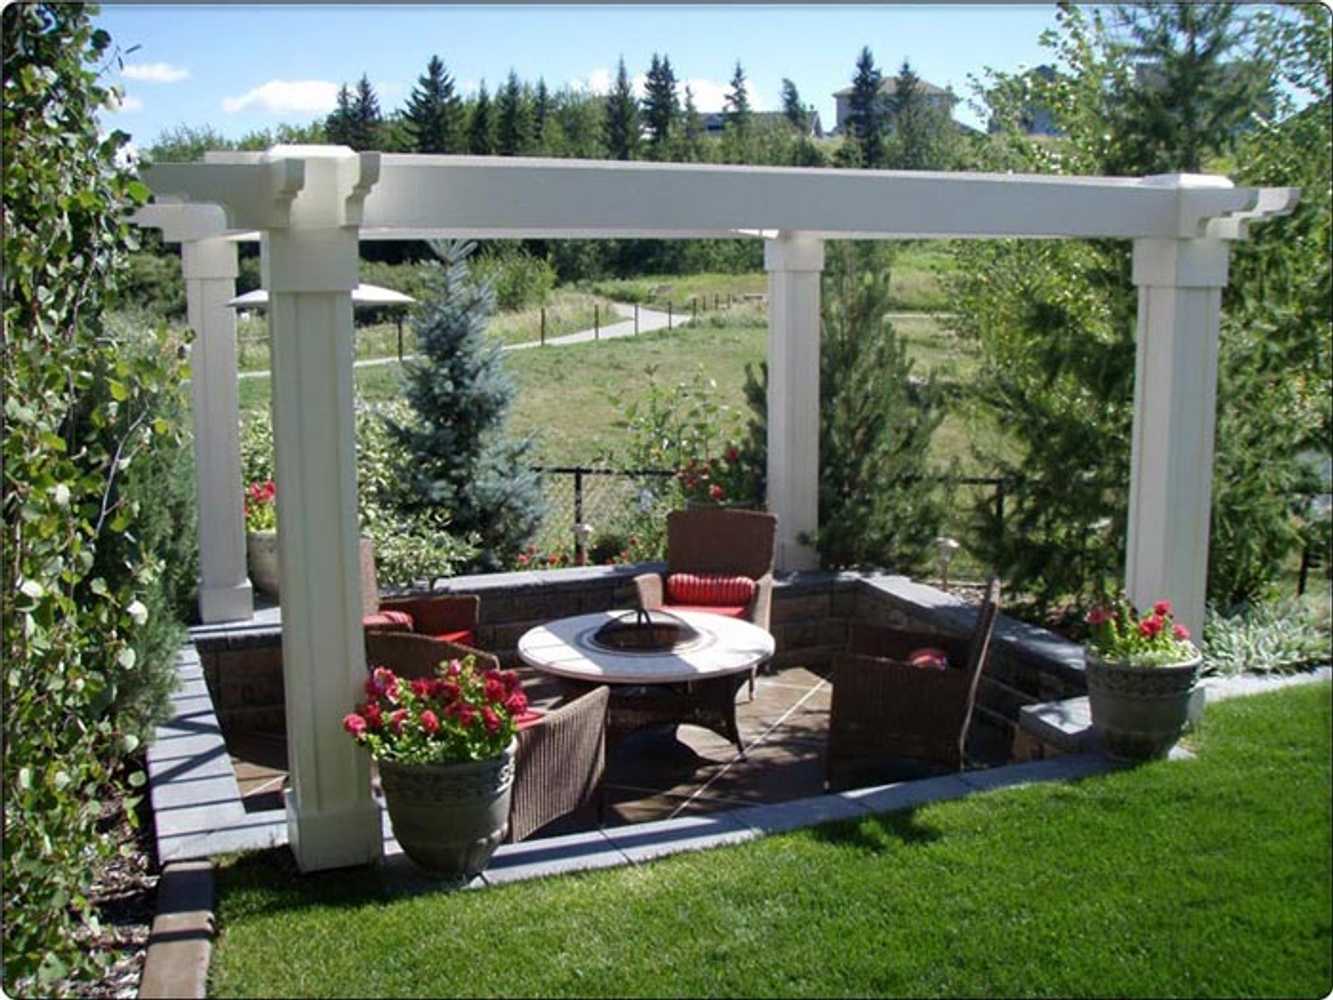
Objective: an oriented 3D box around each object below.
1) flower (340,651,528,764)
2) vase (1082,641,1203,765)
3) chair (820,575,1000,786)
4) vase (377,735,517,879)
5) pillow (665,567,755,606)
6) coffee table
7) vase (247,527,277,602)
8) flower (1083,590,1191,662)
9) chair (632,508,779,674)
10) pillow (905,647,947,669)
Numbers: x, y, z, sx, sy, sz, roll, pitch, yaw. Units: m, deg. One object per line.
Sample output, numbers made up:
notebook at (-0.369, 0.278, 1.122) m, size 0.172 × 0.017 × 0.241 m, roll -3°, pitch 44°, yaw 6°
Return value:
flower at (-1.132, 1.045, 5.461) m, size 0.547 × 0.327 × 0.589 m, roll 0°, pitch 5°, yaw -6°
vase at (2.809, 1.186, 6.587) m, size 0.575 × 0.566 × 0.613 m, roll 1°, pitch 5°, yaw 19°
chair at (1.546, 1.134, 7.536) m, size 1.110 × 1.763 × 1.194 m, roll 2°, pitch 0°, yaw 8°
vase at (-1.070, 1.491, 5.600) m, size 0.584 × 0.533 × 0.614 m, roll 0°, pitch 3°, yaw 22°
pillow at (0.341, 0.690, 8.663) m, size 0.748 × 0.241 × 0.297 m, roll -1°, pitch 4°, yaw 16°
coffee table at (-0.163, 1.042, 7.324) m, size 1.126 × 0.639 × 1.159 m, roll -2°, pitch 13°, yaw -3°
vase at (-3.212, 0.505, 8.868) m, size 0.274 × 0.547 × 0.236 m, roll -2°, pitch 4°, yaw 4°
flower at (2.936, 0.826, 6.829) m, size 0.691 × 0.399 × 0.611 m, roll -6°, pitch 6°, yaw 39°
chair at (0.354, 0.748, 8.633) m, size 0.966 × 1.448 × 0.974 m, roll 1°, pitch 1°, yaw 21°
pillow at (1.639, 0.975, 6.979) m, size 0.144 × 0.064 × 0.167 m, roll 3°, pitch 5°, yaw 34°
